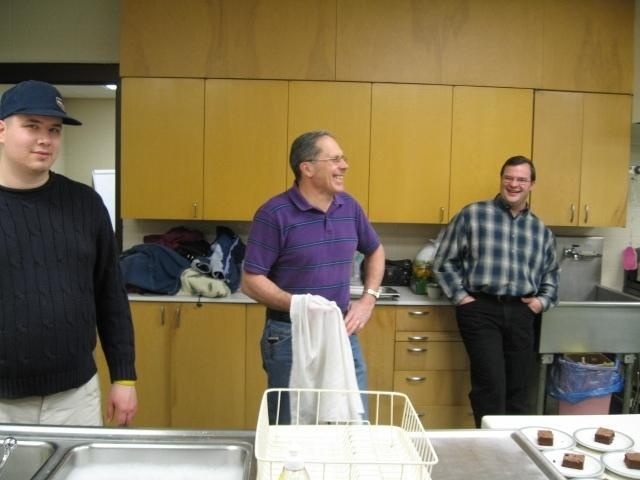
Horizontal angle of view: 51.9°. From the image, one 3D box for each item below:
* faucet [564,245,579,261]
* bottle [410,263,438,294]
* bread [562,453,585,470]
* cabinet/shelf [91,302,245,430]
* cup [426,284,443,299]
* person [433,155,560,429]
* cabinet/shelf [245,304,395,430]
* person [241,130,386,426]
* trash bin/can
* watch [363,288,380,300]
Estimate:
[{"bbox_3d":[1.811,0.089,4.735,0.106,0.112,0.042,1,2,0],"label":"faucet"},{"bbox_3d":[0.716,0.225,4.461,0.161,0.277,0.156,-1,6,0],"label":"bottle"},{"bbox_3d":[0.883,0.767,2.296,0.051,0.023,0.052,2,7,21],"label":"bread"},{"bbox_3d":[-0.831,0.686,3.766,0.877,0.856,0.346,0,-1,-1],"label":"cabinet/shelf"},{"bbox_3d":[0.736,0.329,4.219,0.088,0.066,0.080,2,-3,0],"label":"cup"},{"bbox_3d":[1.065,0.307,4.005,0.744,1.613,0.331,2,2,16],"label":"person"},{"bbox_3d":[0.021,0.698,4.447,1.176,1.175,0.688,1,-5,-8],"label":"cabinet/shelf"},{"bbox_3d":[-0.015,0.183,3.203,0.722,1.422,0.452,1,2,-10],"label":"person"},{"bbox_3d":[1.633,0.844,4.081,0.380,0.338,0.396,-1,-7,0],"label":"trash bin/can"},{"bbox_3d":[0.279,0.266,3.373,0.107,0.051,0.081,2,1,-33],"label":"watch"}]
